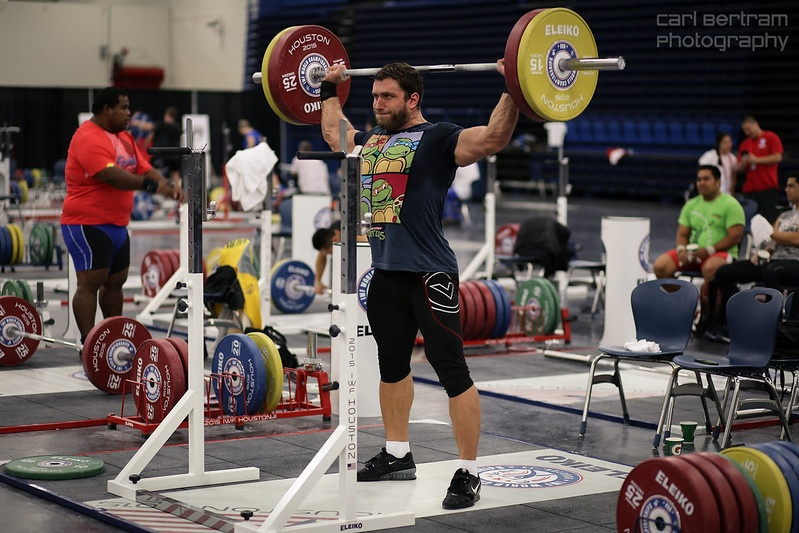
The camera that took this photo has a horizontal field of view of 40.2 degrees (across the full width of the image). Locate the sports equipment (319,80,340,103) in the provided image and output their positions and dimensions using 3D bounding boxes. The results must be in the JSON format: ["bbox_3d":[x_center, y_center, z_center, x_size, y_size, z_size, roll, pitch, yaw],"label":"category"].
[{"bbox_3d":[-0.430,-1.100,6.844,0.108,0.113,0.116,11,25,-6],"label":"sports equipment"}]

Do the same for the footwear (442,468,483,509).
[{"bbox_3d":[0.392,1.288,6.372,0.301,0.233,0.113,-1,4,-41],"label":"footwear"}]

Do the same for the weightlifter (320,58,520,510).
[{"bbox_3d":[0.063,-0.005,6.496,1.423,2.689,0.524,-1,-2,39],"label":"weightlifter"}]

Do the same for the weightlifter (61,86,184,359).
[{"bbox_3d":[-2.106,-0.318,8.701,1.137,1.918,0.537,2,3,24],"label":"weightlifter"}]

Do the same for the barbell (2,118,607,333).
[{"bbox_3d":[-1.208,-0.383,10.943,3.375,1.051,1.071,-14,-45,13],"label":"barbell"}]
